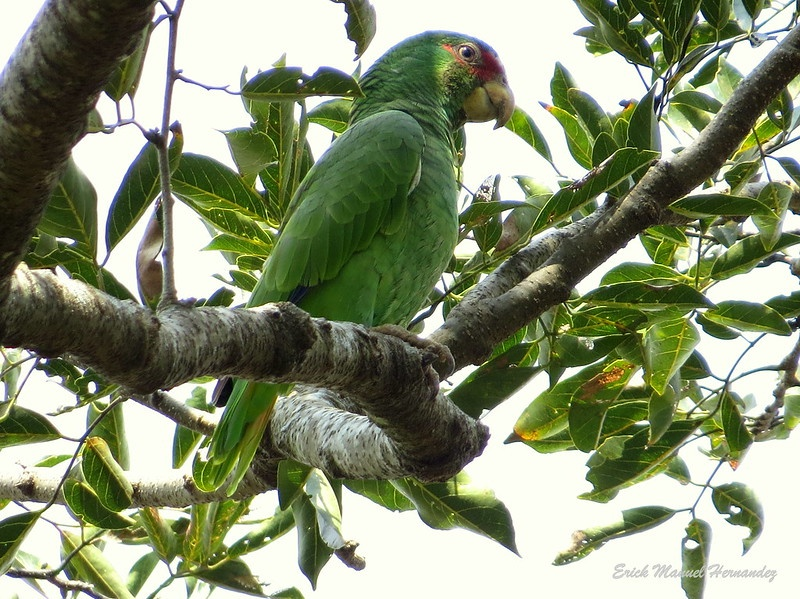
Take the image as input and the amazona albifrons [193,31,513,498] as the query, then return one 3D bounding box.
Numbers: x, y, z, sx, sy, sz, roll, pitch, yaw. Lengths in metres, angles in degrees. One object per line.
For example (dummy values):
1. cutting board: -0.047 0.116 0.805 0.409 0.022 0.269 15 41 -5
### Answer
1. amazona albifrons: -0.006 -0.502 4.650 0.827 1.483 0.582 19 -50 -9
